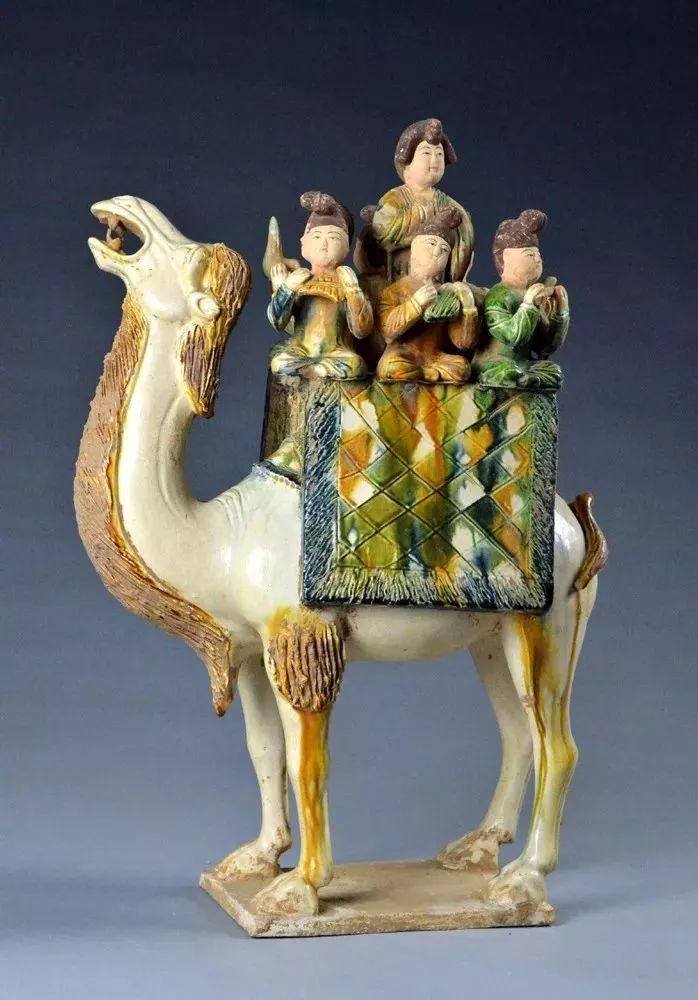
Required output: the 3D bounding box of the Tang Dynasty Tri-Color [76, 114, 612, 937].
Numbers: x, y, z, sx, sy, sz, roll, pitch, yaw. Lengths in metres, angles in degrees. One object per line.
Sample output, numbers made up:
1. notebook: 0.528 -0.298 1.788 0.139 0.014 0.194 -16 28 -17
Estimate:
1. Tang Dynasty Tri-Color: -0.001 0.045 4.361 1.448 2.159 0.603 2 3 -9
